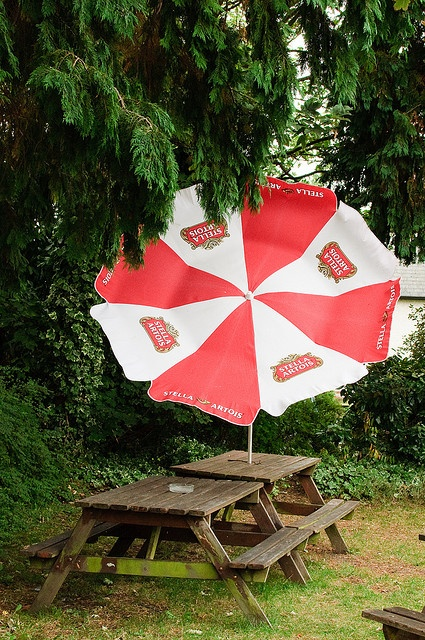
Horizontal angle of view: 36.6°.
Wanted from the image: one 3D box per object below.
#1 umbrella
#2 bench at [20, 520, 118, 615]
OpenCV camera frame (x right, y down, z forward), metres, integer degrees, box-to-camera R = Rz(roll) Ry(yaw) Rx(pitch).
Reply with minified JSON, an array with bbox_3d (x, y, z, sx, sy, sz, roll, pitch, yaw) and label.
[{"bbox_3d":[0.189,-0.161,6.335,2.789,2.426,2.866,-10,-17,-10],"label":"umbrella"},{"bbox_3d":[-1.034,1.797,4.593,0.256,0.193,0.851,19,10,5],"label":"bench"}]
